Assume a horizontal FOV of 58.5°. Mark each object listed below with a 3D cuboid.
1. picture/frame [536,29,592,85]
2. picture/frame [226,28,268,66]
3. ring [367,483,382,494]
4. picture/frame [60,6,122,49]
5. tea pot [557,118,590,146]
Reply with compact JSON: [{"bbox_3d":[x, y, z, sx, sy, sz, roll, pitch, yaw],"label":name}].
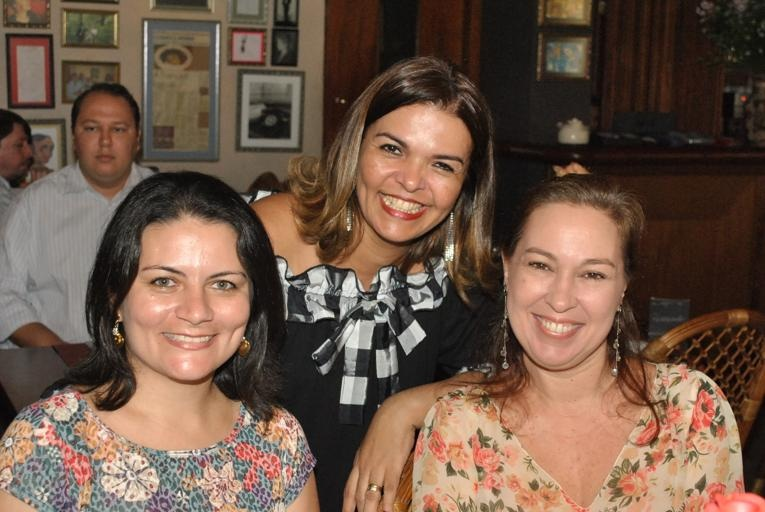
[{"bbox_3d":[1.287,-1.443,4.925,0.391,0.297,0.043,-1,13,-7],"label":"picture/frame"},{"bbox_3d":[-1.130,-1.750,5.679,0.305,0.311,0.024,-1,15,-12],"label":"picture/frame"},{"bbox_3d":[-0.024,0.793,2.348,0.056,0.030,0.025,1,8,-10],"label":"ring"},{"bbox_3d":[-2.303,-1.801,5.370,0.342,0.247,0.014,-1,12,-14],"label":"picture/frame"},{"bbox_3d":[1.348,-0.876,4.833,0.169,0.154,0.224,-9,17,-39],"label":"tea pot"}]
